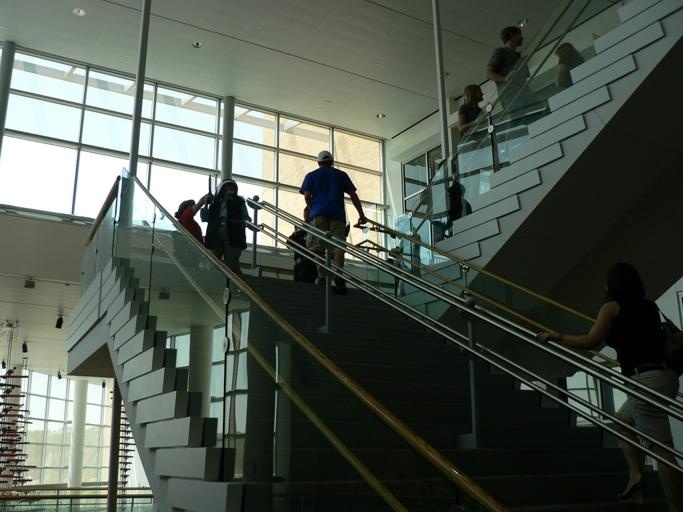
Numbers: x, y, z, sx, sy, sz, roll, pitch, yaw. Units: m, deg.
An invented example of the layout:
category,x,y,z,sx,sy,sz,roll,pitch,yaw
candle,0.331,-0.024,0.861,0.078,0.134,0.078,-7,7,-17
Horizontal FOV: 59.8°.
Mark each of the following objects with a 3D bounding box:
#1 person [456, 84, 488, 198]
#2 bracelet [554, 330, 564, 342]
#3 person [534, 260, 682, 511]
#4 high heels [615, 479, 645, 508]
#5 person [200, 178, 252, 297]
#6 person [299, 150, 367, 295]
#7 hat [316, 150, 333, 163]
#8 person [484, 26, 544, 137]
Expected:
category,x,y,z,sx,sy,sz,roll,pitch,yaw
person,1.651,-1.490,7.551,0.336,1.830,0.782,-3,-13,12
bracelet,1.597,0.584,4.326,0.035,0.050,0.066,-1,-13,-8
person,1.948,0.859,4.066,0.744,1.637,0.496,-5,-14,20
high heels,1.987,1.603,4.028,0.108,0.144,0.200,8,-18,-12
person,-1.465,-0.440,7.687,0.559,1.243,0.353,1,-13,-6
person,-0.148,-0.511,7.010,0.683,1.932,0.995,-2,-13,10
hat,-0.211,-1.219,7.351,0.169,0.091,0.240,2,17,-8
person,2.048,-2.197,7.162,0.474,1.805,0.915,-1,-13,6
